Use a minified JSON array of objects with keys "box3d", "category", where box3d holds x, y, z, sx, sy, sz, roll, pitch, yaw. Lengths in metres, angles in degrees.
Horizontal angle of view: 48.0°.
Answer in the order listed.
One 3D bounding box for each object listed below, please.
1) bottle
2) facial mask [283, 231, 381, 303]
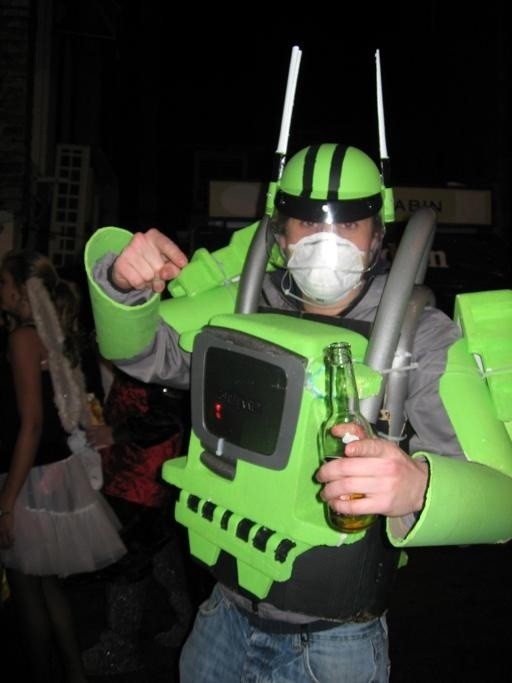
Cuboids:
[{"box3d":[0.153,0.163,0.955,0.095,0.328,0.180,1,25,-8],"category":"bottle"},{"box3d":[0.182,-0.205,1.413,0.202,0.164,0.137,16,22,36],"category":"facial mask"}]
